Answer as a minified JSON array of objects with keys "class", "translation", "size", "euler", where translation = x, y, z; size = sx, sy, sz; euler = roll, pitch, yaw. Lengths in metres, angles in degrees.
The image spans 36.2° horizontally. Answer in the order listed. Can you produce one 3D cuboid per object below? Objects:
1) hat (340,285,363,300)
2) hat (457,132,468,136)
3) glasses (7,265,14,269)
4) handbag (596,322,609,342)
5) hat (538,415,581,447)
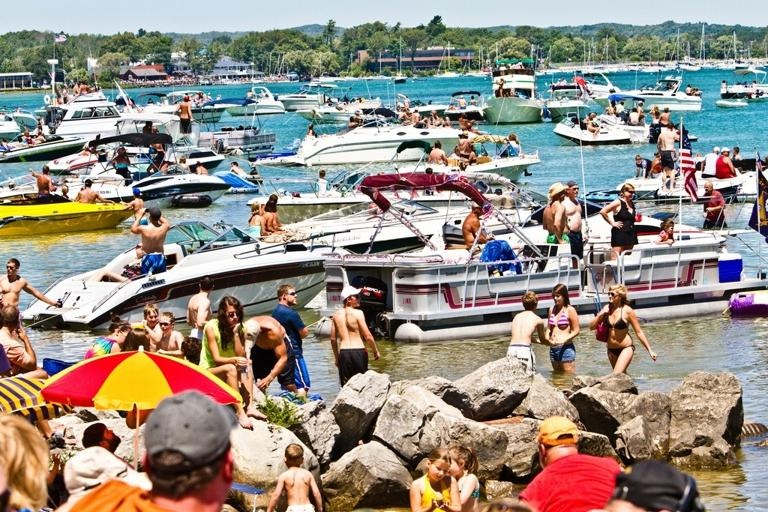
[{"class":"hat","translation":[-0.611,0.658,21.076],"size":[0.354,0.155,0.228],"euler":[-19,3,26]},{"class":"hat","translation":[2.891,-4.630,44.222],"size":[0.419,0.202,0.431],"euler":[4,6,19]},{"class":"glasses","translation":[-6.987,0.185,21.817],"size":[0.087,0.052,0.110],"euler":[6,2,10]},{"class":"handbag","translation":[3.662,1.260,19.745],"size":[0.185,0.387,0.334],"euler":[-3,9,5]},{"class":"hat","translation":[1.816,1.841,12.324],"size":[0.278,0.183,0.385],"euler":[-2,-1,-7]}]
